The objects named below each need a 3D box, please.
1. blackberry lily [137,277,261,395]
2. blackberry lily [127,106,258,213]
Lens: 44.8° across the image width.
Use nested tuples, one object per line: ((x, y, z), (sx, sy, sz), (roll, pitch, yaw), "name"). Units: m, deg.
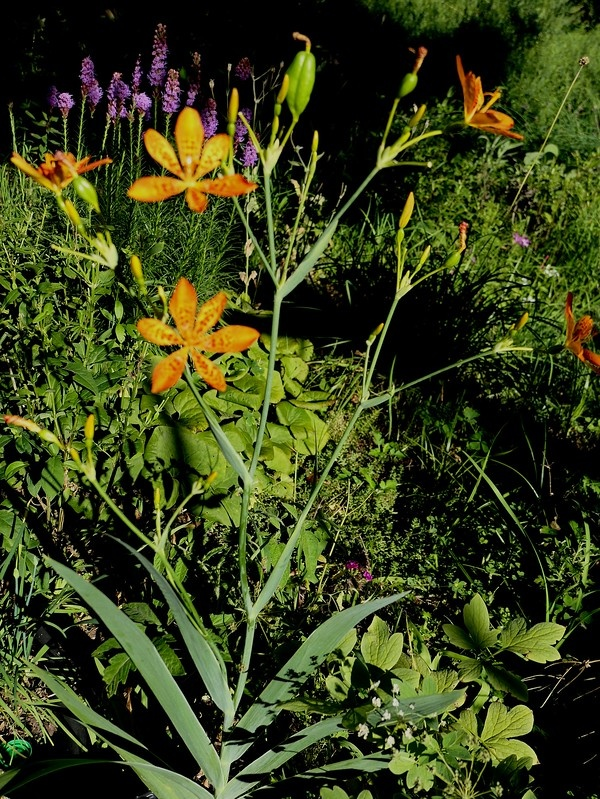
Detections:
((-0.199, -0.095, 1.245), (0.225, 0.190, 0.053), (-21, 9, -29), "blackberry lily")
((-0.170, -0.390, 1.198), (0.184, 0.169, 0.271), (6, 34, -9), "blackberry lily")
